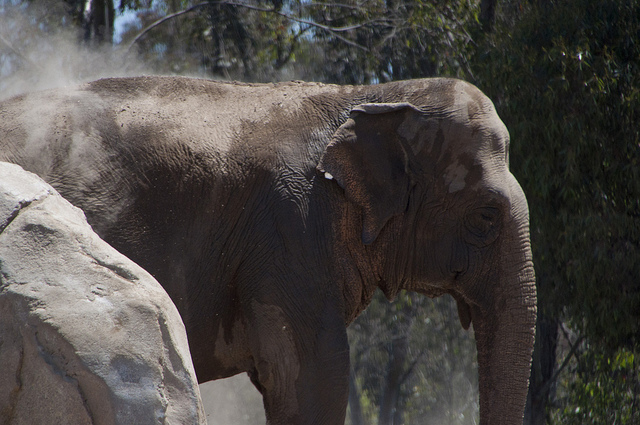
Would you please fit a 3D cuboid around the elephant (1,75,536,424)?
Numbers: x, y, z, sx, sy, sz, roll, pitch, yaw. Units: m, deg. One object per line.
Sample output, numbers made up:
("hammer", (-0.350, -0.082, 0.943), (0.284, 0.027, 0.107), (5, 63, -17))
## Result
("elephant", (-0.186, 0.211, 9.317), (3.335, 1.462, 1.746), (3, 49, 0))
